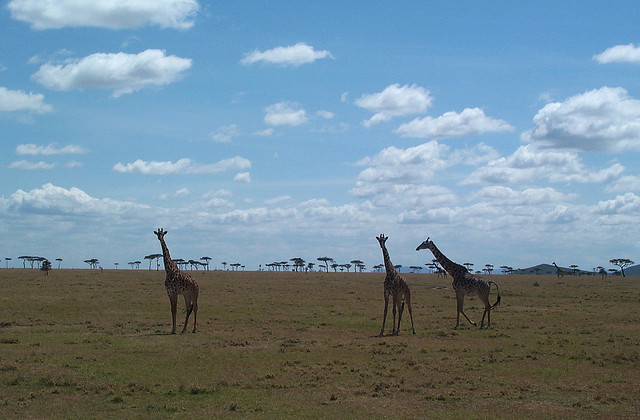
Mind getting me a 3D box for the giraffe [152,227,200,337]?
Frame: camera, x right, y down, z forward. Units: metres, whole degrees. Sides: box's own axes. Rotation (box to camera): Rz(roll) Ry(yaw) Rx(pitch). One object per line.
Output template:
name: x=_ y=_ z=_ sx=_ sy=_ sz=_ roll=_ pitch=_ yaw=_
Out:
giraffe: x=-9.093 y=4.442 z=51.071 sx=2.404 sy=7.364 sz=5.660 roll=-1 pitch=12 yaw=-9
